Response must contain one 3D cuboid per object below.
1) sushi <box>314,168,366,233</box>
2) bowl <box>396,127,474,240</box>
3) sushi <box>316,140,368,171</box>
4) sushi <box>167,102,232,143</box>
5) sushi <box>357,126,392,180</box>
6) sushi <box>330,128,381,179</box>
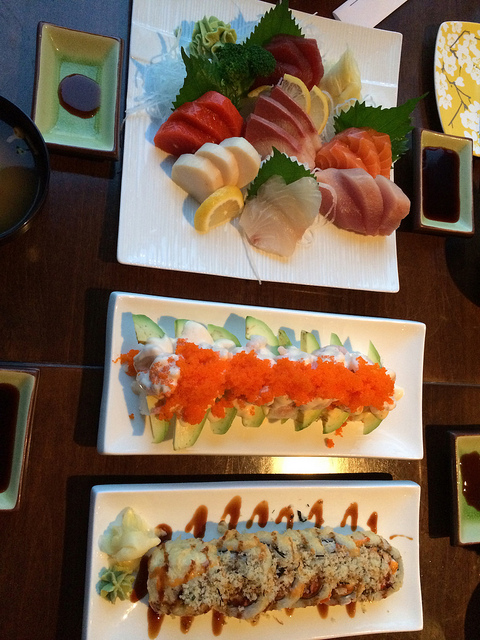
[{"bbox_3d":[0.408,-0.461,2.347,0.158,0.108,0.273,-43,96,7],"label":"sushi"},{"bbox_3d":[0.869,-0.584,2.602,0.349,0.155,0.503,6,83,-14],"label":"bowl"},{"bbox_3d":[0.379,-0.631,2.231,0.147,0.051,0.118,4,80,4],"label":"sushi"},{"bbox_3d":[-0.141,-0.707,2.081,0.223,0.104,0.081,14,62,-1],"label":"sushi"},{"bbox_3d":[0.548,-0.662,2.326,0.155,0.180,0.072,22,35,33],"label":"sushi"},{"bbox_3d":[0.478,-0.659,2.306,0.109,0.153,0.210,-19,35,-31],"label":"sushi"}]
